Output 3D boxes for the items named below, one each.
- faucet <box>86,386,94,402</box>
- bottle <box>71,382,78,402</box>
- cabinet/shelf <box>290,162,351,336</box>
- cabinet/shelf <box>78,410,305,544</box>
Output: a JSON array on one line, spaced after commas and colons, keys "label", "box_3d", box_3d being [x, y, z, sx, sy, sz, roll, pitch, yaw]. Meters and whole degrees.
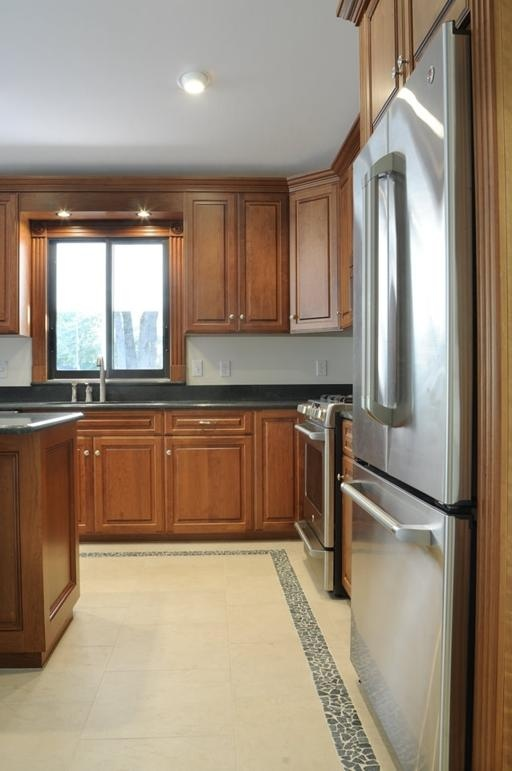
[{"label": "faucet", "box_3d": [-1.125, 0.041, 3.683, 0.051, 0.103, 0.174, 0, 0, -18]}, {"label": "bottle", "box_3d": [-1.226, 0.035, 3.689, 0.040, 0.119, 0.189, 0, 0, -20]}, {"label": "cabinet/shelf", "box_3d": [0.404, -0.740, 3.220, 0.198, 0.865, 0.655, 0, 0, -22]}, {"label": "cabinet/shelf", "box_3d": [-0.399, 0.461, 3.291, 1.315, 0.667, 0.273, 0, 0, 9]}]
